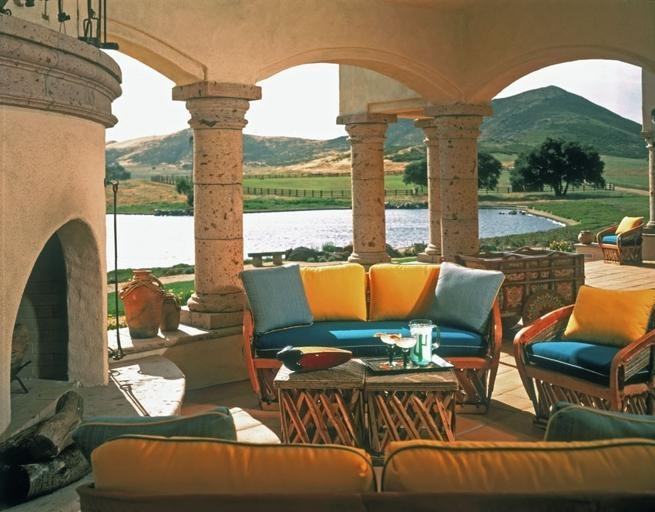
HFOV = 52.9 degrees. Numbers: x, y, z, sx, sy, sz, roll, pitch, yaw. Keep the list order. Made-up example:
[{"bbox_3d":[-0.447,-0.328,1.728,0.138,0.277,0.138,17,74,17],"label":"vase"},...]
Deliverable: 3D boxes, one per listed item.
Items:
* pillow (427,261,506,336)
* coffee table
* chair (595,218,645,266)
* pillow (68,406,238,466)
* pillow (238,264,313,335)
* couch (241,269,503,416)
[{"bbox_3d":[1.135,0.340,5.535,0.331,0.515,0.692,-5,9,-32],"label":"pillow"},{"bbox_3d":[0.256,1.008,4.296,1.165,0.611,0.735,-2,6,7],"label":"coffee table"},{"bbox_3d":[5.863,-0.320,13.110,0.855,0.776,0.839,-2,7,21],"label":"chair"},{"bbox_3d":[-0.678,0.709,2.526,0.660,0.173,0.362,-2,6,6],"label":"pillow"},{"bbox_3d":[-0.433,0.338,5.453,0.658,0.524,0.172,-7,-18,-41],"label":"pillow"},{"bbox_3d":[0.393,0.616,5.590,2.153,0.947,0.963,0,12,4],"label":"couch"}]
